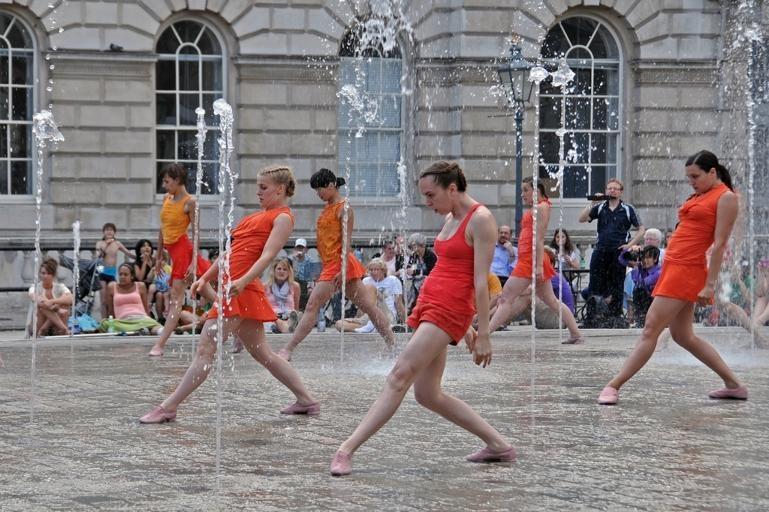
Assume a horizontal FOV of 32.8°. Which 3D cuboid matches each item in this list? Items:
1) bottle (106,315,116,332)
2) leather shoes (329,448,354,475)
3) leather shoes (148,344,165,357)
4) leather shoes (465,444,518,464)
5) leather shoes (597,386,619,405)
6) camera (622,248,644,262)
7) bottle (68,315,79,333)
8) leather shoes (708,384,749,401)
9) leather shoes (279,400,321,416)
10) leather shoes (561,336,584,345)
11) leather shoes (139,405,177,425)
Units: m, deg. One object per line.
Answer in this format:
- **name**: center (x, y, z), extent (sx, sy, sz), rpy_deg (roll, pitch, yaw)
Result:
- **bottle**: center (-4.500, 1.139, 21.546), extent (0.084, 0.220, 0.163), rpy_deg (-5, 2, 1)
- **leather shoes**: center (-0.402, 2.071, 13.176), extent (0.292, 0.248, 0.174), rpy_deg (-8, 14, -34)
- **leather shoes**: center (-3.270, 1.361, 18.739), extent (0.118, 0.200, 0.298), rpy_deg (1, -14, 8)
- **leather shoes**: center (1.119, 2.039, 13.459), extent (0.495, 0.198, 0.178), rpy_deg (2, -1, 5)
- **leather shoes**: center (2.642, 1.651, 15.407), extent (0.195, 0.162, 0.401), rpy_deg (-3, -5, 11)
- **camera**: center (4.050, -0.023, 21.349), extent (0.238, 0.112, 0.310), rpy_deg (-6, -18, -10)
- **bottle**: center (-5.159, 1.129, 21.781), extent (0.184, 0.244, 0.675), rpy_deg (-3, 11, -13)
- **leather shoes**: center (4.139, 1.644, 15.723), extent (0.458, 0.171, 0.180), rpy_deg (2, 2, 17)
- **leather shoes**: center (-0.959, 1.754, 15.066), extent (0.449, 0.180, 0.162), rpy_deg (2, 0, 8)
- **leather shoes**: center (2.834, 1.278, 19.824), extent (0.263, 0.107, 0.135), rpy_deg (1, 4, 23)
- **leather shoes**: center (-2.534, 1.780, 14.612), extent (0.380, 0.152, 0.190), rpy_deg (1, -2, -9)
